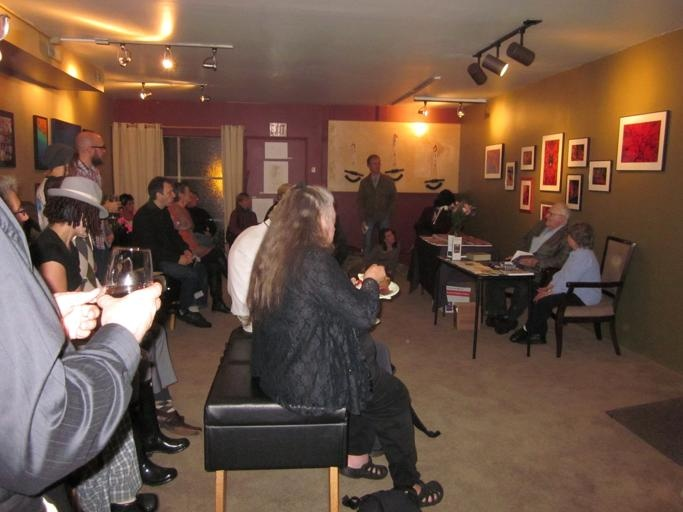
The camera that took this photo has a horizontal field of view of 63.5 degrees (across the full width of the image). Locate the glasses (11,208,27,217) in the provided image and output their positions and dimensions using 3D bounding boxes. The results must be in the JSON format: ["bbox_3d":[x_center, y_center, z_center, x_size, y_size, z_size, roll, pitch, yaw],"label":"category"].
[{"bbox_3d":[-2.336,-0.317,3.998,0.108,0.035,0.108,-2,10,-19],"label":"glasses"}]

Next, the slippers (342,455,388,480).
[{"bbox_3d":[0.156,1.308,3.410,0.310,0.155,0.151,-2,1,-6],"label":"slippers"}]

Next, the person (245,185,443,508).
[{"bbox_3d":[-0.021,0.515,2.991,0.878,1.768,0.566,-4,11,-25],"label":"person"}]

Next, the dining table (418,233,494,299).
[{"bbox_3d":[1.332,-0.013,6.546,0.643,0.763,1.077,1,10,-3],"label":"dining table"}]

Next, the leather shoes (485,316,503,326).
[{"bbox_3d":[1.615,0.692,5.886,0.089,0.105,0.118,0,12,-27],"label":"leather shoes"}]

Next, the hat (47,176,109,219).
[{"bbox_3d":[-1.507,-0.322,3.192,0.238,0.117,0.290,17,-1,32],"label":"hat"}]

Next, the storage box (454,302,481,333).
[{"bbox_3d":[1.285,0.623,5.837,0.324,0.351,0.246,0,2,-2],"label":"storage box"}]

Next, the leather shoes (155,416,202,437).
[{"bbox_3d":[-1.081,1.136,3.697,0.319,0.145,0.110,2,-2,-4],"label":"leather shoes"}]

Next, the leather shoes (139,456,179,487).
[{"bbox_3d":[-1.096,1.277,3.334,0.246,0.218,0.107,-3,5,-10],"label":"leather shoes"}]

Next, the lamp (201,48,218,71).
[{"bbox_3d":[-1.392,-2.077,5.891,0.132,0.235,0.907,-1,11,-12],"label":"lamp"}]

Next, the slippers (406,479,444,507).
[{"bbox_3d":[0.491,1.347,3.141,0.267,0.105,0.104,6,-19,-31],"label":"slippers"}]

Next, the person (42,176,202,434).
[{"bbox_3d":[-1.457,0.355,3.475,0.819,1.687,0.584,6,25,3],"label":"person"}]

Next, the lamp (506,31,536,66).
[{"bbox_3d":[1.656,-1.920,5.110,0.224,0.289,0.465,4,11,15],"label":"lamp"}]

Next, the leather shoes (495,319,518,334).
[{"bbox_3d":[1.737,0.724,5.766,0.289,0.151,0.102,-12,18,-25],"label":"leather shoes"}]

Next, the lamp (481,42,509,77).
[{"bbox_3d":[1.535,-1.966,5.552,0.213,0.316,0.583,4,11,13],"label":"lamp"}]

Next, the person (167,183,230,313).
[{"bbox_3d":[-1.665,-0.114,6.455,0.764,1.500,0.570,-1,1,-14],"label":"person"}]

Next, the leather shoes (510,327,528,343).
[{"bbox_3d":[1.756,0.783,5.459,0.130,0.171,0.409,0,-6,17],"label":"leather shoes"}]

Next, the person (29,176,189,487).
[{"bbox_3d":[-1.385,0.466,3.319,0.873,1.829,0.679,0,10,-13],"label":"person"}]

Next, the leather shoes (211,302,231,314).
[{"bbox_3d":[-1.388,0.601,6.344,0.245,0.185,0.092,-1,3,-1],"label":"leather shoes"}]

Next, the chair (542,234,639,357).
[{"bbox_3d":[2.431,0.371,5.285,0.558,1.047,1.078,11,14,43],"label":"chair"}]
